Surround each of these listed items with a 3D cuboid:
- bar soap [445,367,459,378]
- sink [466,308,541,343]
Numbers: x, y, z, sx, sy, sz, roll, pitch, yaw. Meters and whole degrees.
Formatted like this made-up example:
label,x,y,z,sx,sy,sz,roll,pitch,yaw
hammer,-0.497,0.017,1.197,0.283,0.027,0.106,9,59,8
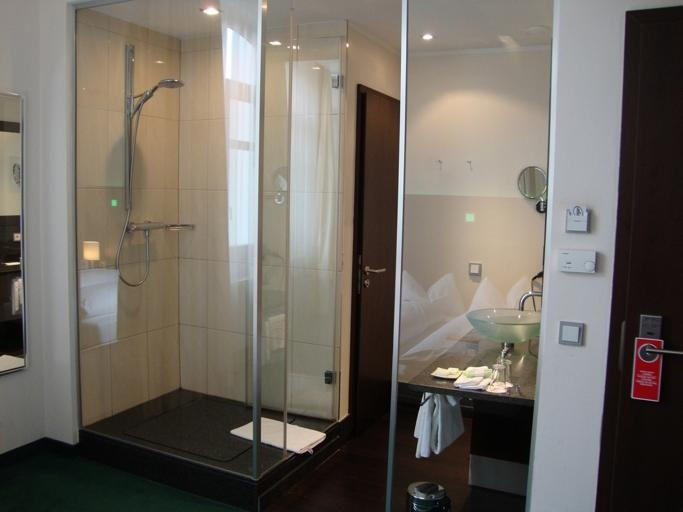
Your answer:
label,x,y,z,sx,sy,sz,roll,pitch,yaw
bar soap,0.607,0.628,2.980,0.050,0.017,0.052,2,51,15
sink,0.867,0.380,2.959,0.383,0.146,0.446,-1,7,1
